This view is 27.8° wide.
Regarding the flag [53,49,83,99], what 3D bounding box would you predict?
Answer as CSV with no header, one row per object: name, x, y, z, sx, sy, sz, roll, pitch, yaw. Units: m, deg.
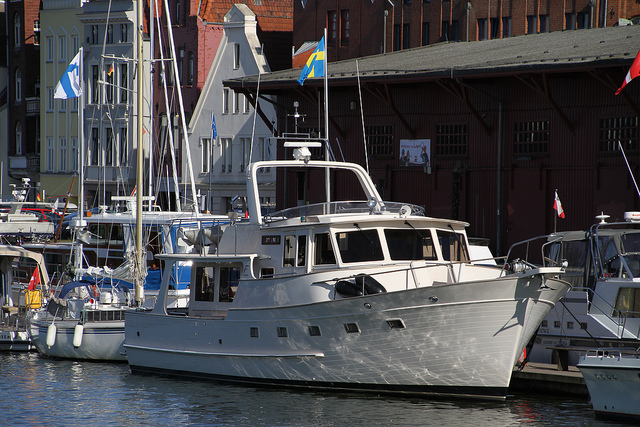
flag,-10.524,-5.797,54.605,1.185,2.278,0.380,0,-28,-1

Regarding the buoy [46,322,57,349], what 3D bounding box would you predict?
buoy,-9.622,4.316,46.077,0.348,0.890,0.198,-2,-2,26

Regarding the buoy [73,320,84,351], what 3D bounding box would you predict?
buoy,-8.578,4.286,45.781,0.374,1.053,0.244,0,-2,-12

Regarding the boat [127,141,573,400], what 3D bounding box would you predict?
boat,0.619,2.029,44.656,16.334,8.305,7.471,-2,-3,37

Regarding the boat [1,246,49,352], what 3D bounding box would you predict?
boat,-11.591,3.203,50.562,1.750,3.920,8.101,0,-2,-12
